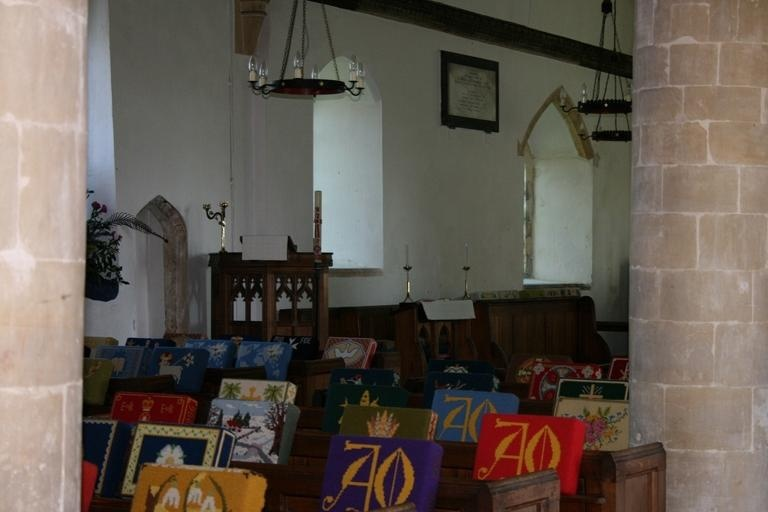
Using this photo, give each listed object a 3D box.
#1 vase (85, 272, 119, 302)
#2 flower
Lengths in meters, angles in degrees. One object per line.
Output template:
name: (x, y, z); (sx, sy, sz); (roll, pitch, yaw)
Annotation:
vase: (-3.031, 0.322, 8.600); (0.255, 0.135, 0.297); (1, -12, 28)
flower: (-3.014, -0.099, 8.883); (1.228, 1.001, 0.857); (4, 0, -26)
